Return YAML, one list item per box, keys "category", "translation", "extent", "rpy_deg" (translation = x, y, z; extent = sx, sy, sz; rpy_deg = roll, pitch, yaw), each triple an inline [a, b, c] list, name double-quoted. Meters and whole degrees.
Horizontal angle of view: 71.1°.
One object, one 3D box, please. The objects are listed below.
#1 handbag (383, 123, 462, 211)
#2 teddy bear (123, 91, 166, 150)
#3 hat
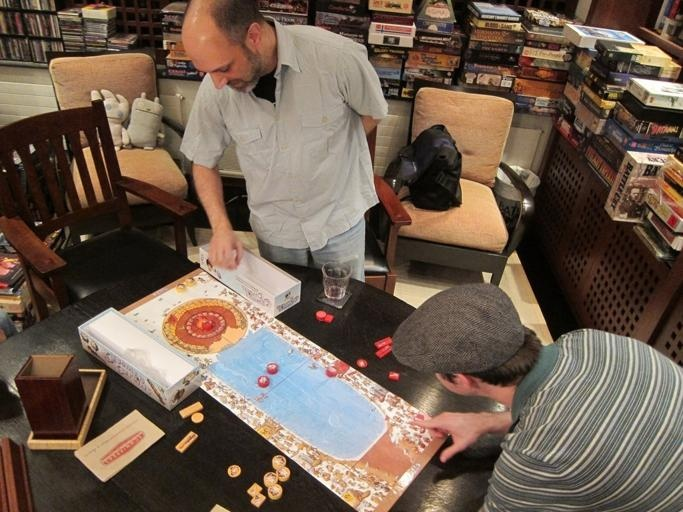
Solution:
- category: "handbag"
  translation: [0.548, -0.551, 3.318]
  extent: [0.533, 0.501, 0.549]
  rpy_deg: [-11, 70, -15]
- category: "teddy bear"
  translation: [-1.447, -0.991, 3.528]
  extent: [0.261, 0.394, 0.232]
  rpy_deg: [13, 16, -13]
- category: "hat"
  translation: [0.315, 0.199, 1.331]
  extent: [0.320, 0.153, 0.235]
  rpy_deg: [-2, 46, 9]
